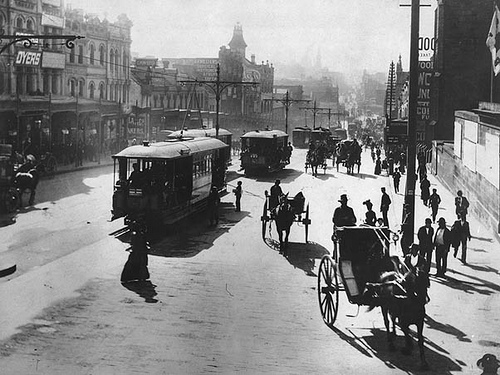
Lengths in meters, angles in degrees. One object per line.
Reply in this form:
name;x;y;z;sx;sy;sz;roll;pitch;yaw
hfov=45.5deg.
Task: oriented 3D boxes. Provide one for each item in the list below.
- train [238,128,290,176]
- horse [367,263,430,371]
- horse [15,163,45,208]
train;1.224;-2.955;49.175;2.491;3.466;6.228;3;8;17
horse;3.590;2.812;13.614;0.739;1.983;1.579;-4;9;-36
horse;-10.674;0.070;28.551;0.757;1.707;1.838;0;8;-13
